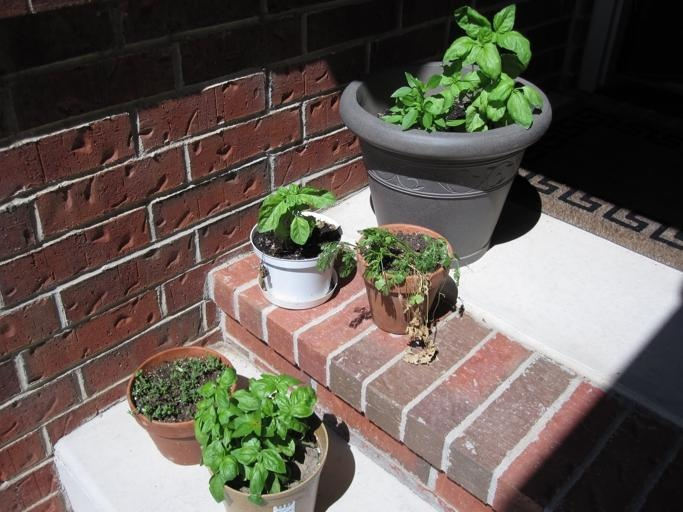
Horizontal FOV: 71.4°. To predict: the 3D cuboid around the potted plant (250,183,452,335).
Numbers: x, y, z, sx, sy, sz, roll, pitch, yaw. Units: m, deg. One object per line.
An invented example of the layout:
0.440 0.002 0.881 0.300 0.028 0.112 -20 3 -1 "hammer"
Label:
-0.011 0.044 1.922 0.756 0.299 0.531 23 37 13 "potted plant"
